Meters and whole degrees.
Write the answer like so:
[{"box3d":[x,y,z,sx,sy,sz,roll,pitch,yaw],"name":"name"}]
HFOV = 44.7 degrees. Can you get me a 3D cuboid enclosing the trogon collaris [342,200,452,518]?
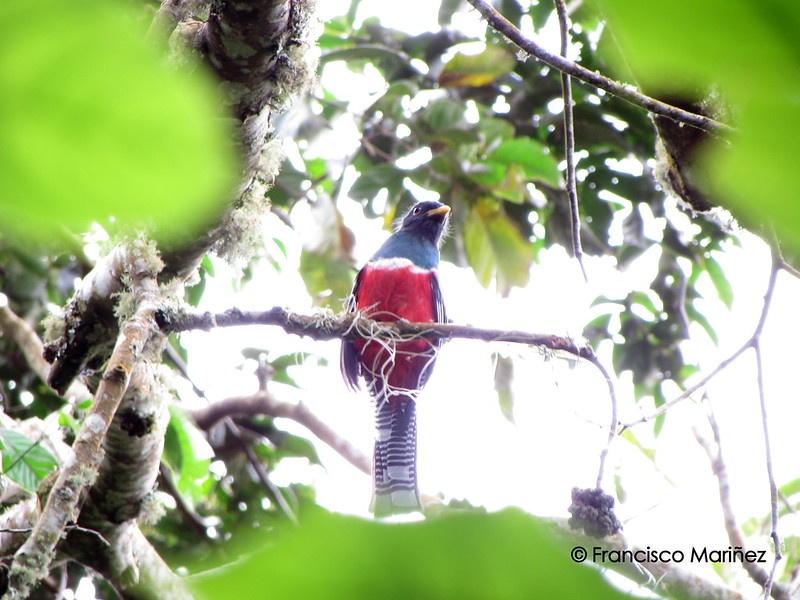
[{"box3d":[0.005,0.209,4.725,0.428,1.693,0.614,5,-9,-3],"name":"trogon collaris"}]
